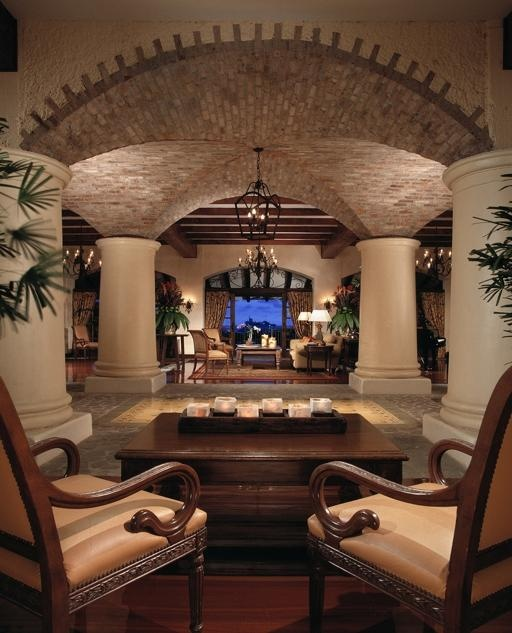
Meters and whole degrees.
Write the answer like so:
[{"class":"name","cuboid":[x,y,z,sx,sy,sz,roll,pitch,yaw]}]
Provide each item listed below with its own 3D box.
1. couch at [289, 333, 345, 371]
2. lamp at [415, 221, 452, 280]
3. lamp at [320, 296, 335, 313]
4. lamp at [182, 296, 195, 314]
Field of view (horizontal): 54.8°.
[{"class":"couch","cuboid":[1.201,0.801,9.940,0.719,0.529,1.145,0,0,-1]},{"class":"lamp","cuboid":[4.452,-1.541,12.420,0.825,1.151,4.153,0,3,18]},{"class":"lamp","cuboid":[2.103,-0.329,14.078,0.421,0.460,0.408,1,-2,-10]},{"class":"lamp","cuboid":[-1.909,-0.305,14.043,0.352,0.496,0.132,-1,3,-14]}]
